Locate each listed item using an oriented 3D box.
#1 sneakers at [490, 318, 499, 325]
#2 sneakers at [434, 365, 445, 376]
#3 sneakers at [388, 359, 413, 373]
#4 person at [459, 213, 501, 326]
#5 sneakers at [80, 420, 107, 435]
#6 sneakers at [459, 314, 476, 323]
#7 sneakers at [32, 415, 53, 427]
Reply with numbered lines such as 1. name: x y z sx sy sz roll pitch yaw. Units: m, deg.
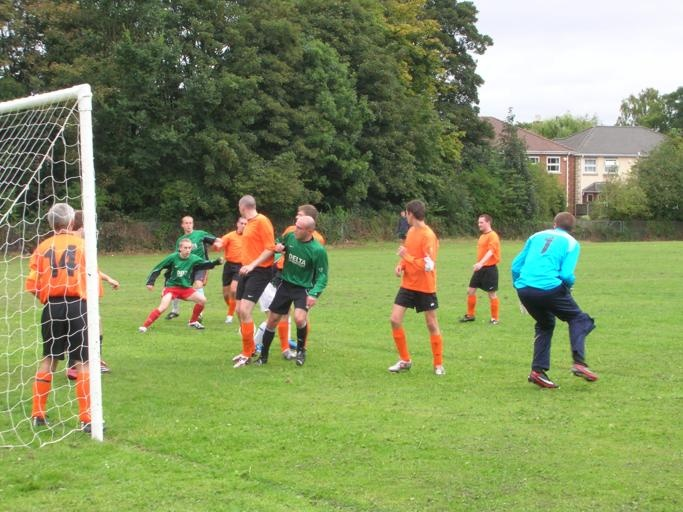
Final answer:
1. sneakers: 4.370 1.834 33.717 0.183 0.192 0.332 0 5 11
2. sneakers: 2.466 2.828 29.832 0.272 0.254 0.314 0 2 4
3. sneakers: 1.472 2.761 29.965 0.685 0.248 0.235 0 -3 -22
4. person: 4.013 0.339 34.052 1.083 3.069 1.458 0 2 5
5. sneakers: -5.901 3.963 27.589 0.424 0.220 0.303 8 -16 25
6. sneakers: 3.596 1.781 34.099 0.529 0.193 0.166 1 -4 -23
7. sneakers: -7.158 3.837 27.725 0.304 0.193 0.285 4 -10 -35
